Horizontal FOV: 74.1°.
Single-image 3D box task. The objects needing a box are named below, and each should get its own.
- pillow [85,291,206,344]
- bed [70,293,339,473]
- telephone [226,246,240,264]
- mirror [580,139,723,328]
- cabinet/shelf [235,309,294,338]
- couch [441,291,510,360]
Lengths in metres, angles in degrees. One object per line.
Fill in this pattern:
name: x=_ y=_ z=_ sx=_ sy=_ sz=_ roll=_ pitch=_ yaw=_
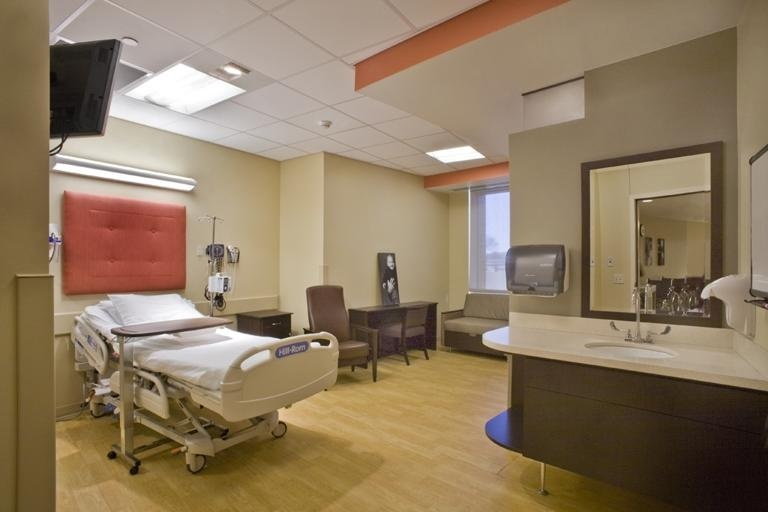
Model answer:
pillow: x=-2.514 y=0.601 z=5.301 sx=0.665 sy=0.184 sz=0.622 roll=6 pitch=19 yaw=-39
bed: x=-1.896 y=1.201 z=5.158 sx=2.525 sy=1.417 sz=1.524 roll=4 pitch=2 yaw=33
telephone: x=-2.039 y=-0.015 z=6.869 sx=0.081 sy=0.256 sz=0.217 roll=9 pitch=16 yaw=33
mirror: x=2.194 y=-0.181 z=4.302 sx=1.088 sy=1.519 sz=0.423 roll=5 pitch=15 yaw=19
cabinet/shelf: x=-1.610 y=0.859 z=6.912 sx=0.415 sy=0.457 sz=0.491 roll=-1 pitch=-1 yaw=36
couch: x=1.418 y=1.055 z=8.078 sx=1.410 sy=1.023 sz=0.836 roll=-3 pitch=-6 yaw=42
